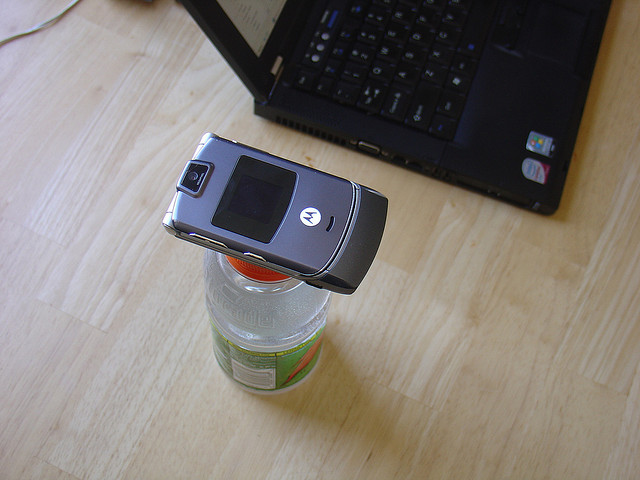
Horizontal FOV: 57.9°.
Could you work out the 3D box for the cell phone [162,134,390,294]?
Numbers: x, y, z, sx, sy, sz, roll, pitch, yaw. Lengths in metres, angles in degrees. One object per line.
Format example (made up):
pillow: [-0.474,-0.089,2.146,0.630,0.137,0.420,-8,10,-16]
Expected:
cell phone: [-0.039,-0.026,0.554,0.194,0.055,0.133,22,78,0]
